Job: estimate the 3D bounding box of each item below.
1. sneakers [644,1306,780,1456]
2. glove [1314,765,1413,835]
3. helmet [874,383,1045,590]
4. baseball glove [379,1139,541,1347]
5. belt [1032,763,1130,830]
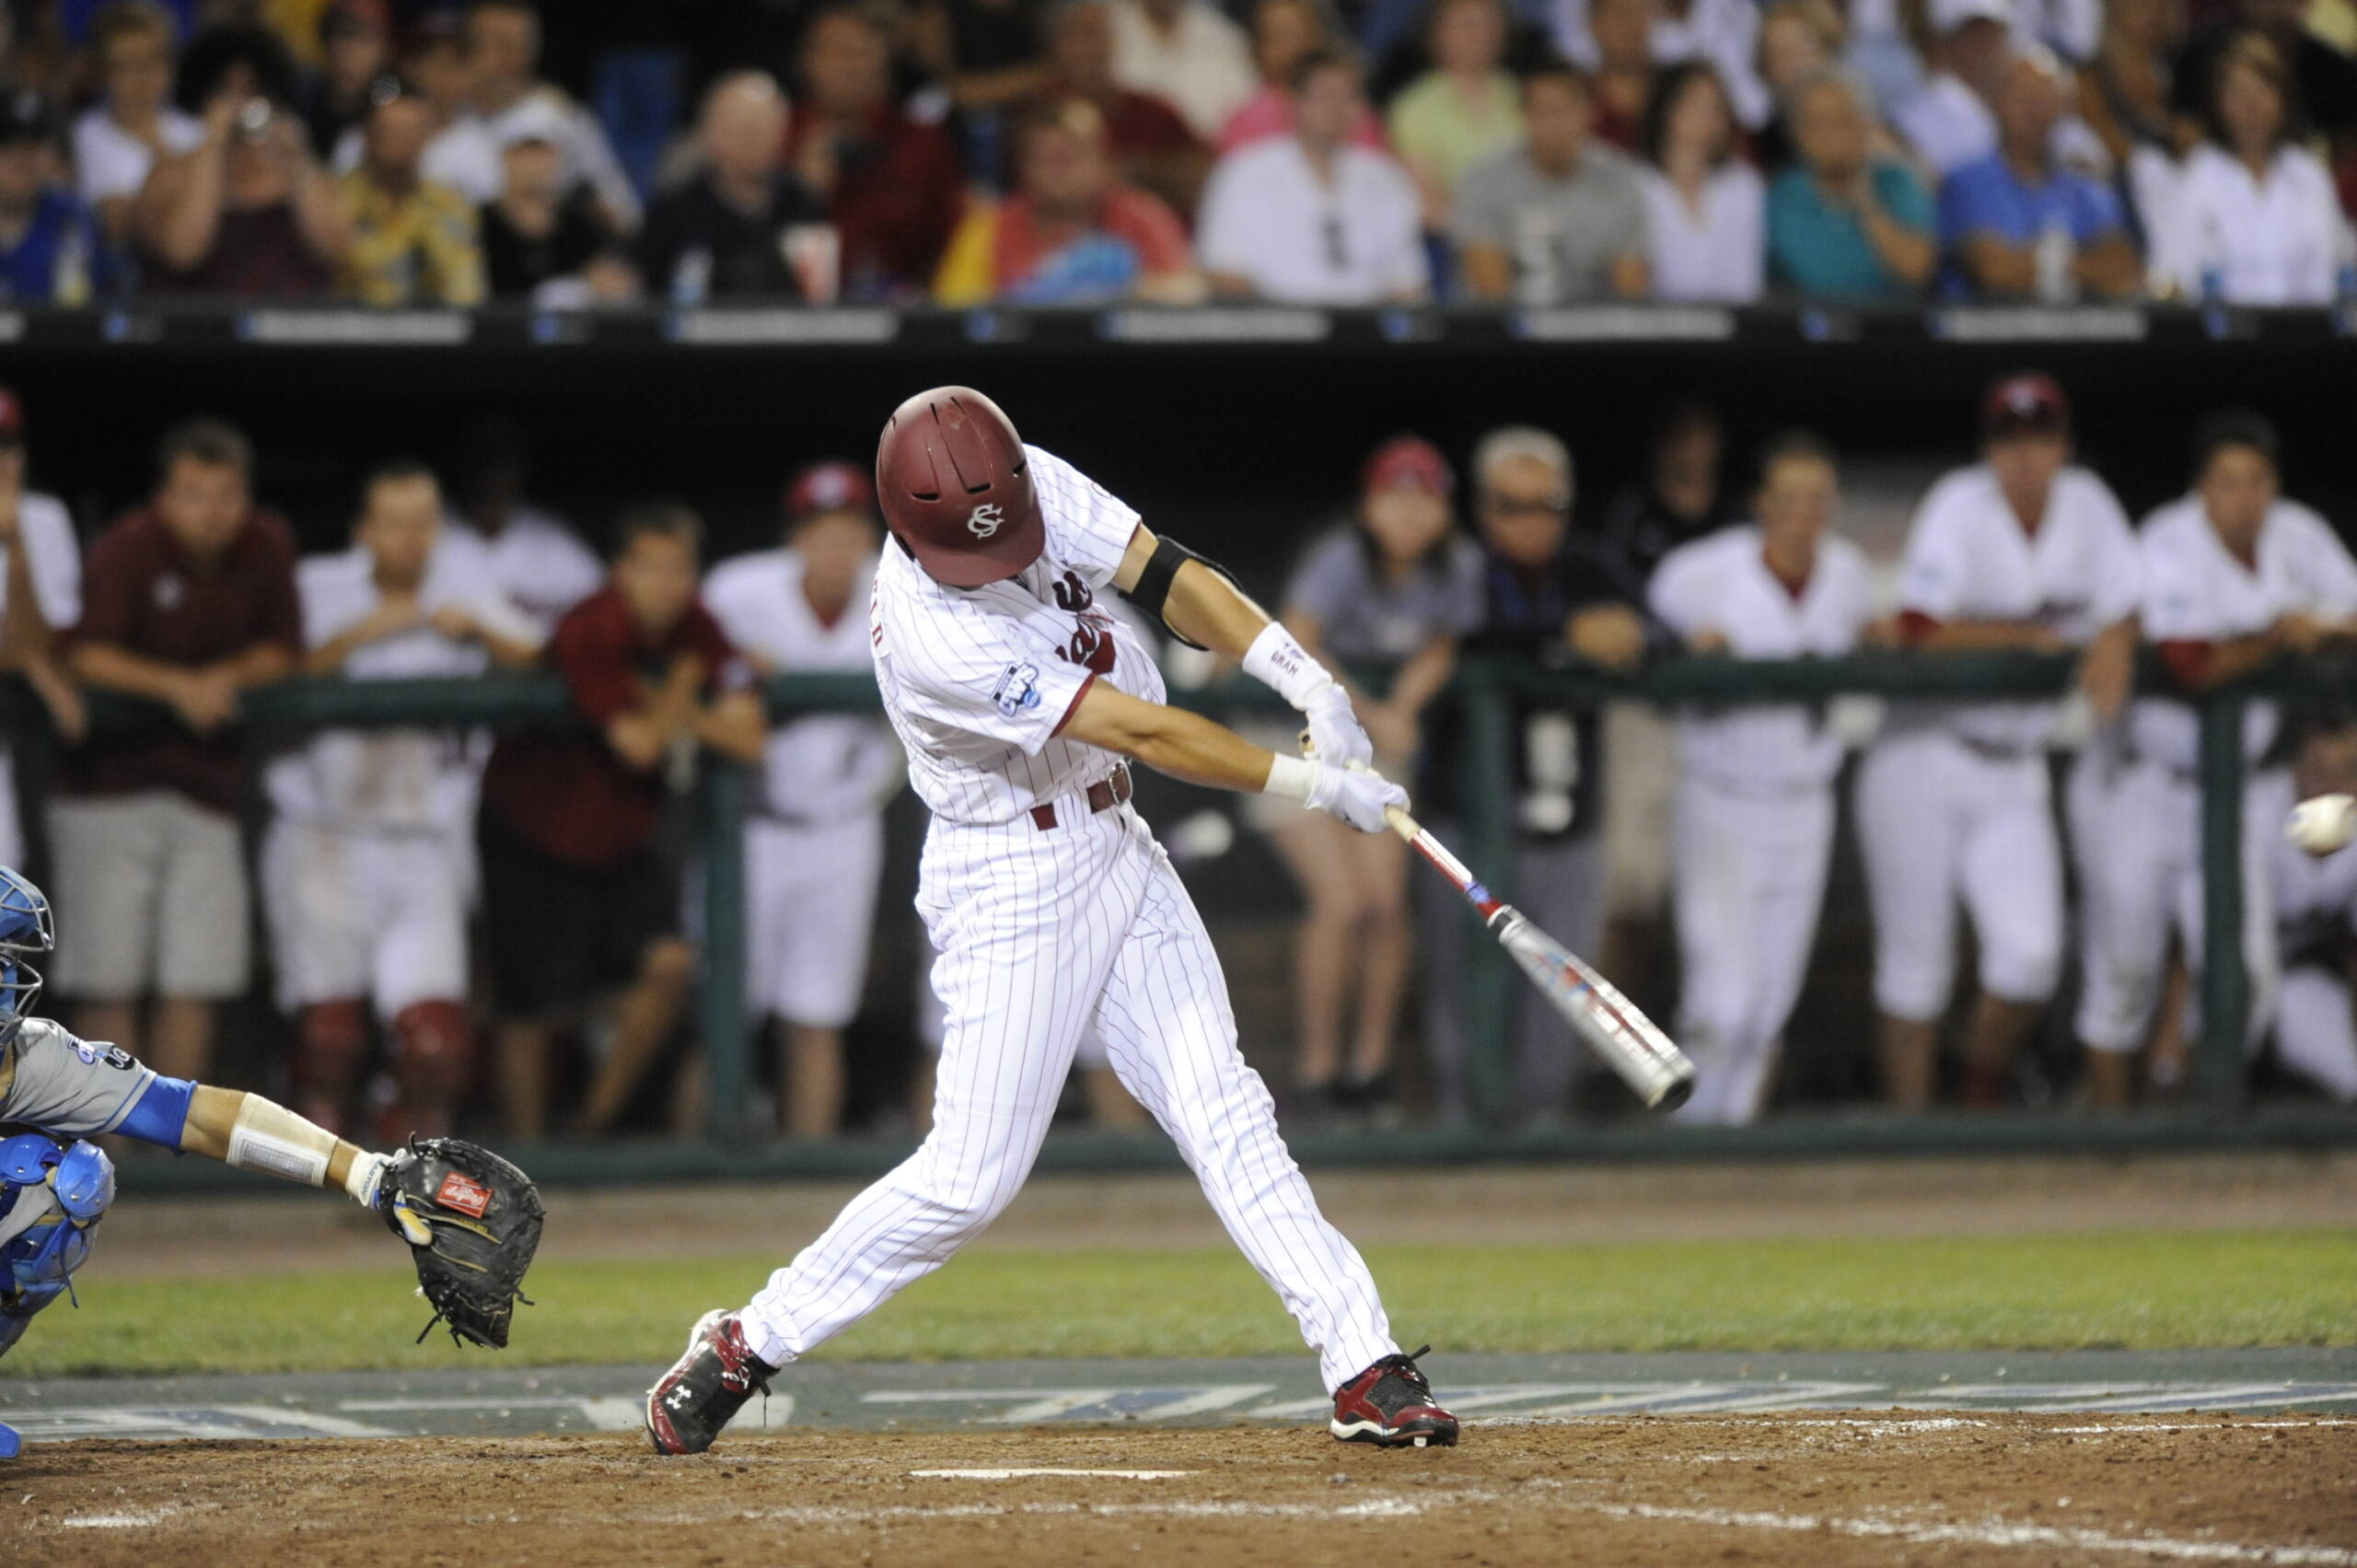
[{"bbox_3d":[-1.231,1.592,11.679,0.246,0.184,0.546,-6,35,22],"label":"sneakers"},{"bbox_3d":[0.504,0.030,11.624,0.184,0.162,0.203,1,2,29],"label":"glove"},{"bbox_3d":[-0.552,-0.748,11.629,0.323,0.585,0.506,7,-9,-39],"label":"helmet"},{"bbox_3d":[-1.871,1.195,11.903,0.451,0.537,0.163,-40,16,-2],"label":"baseball glove"},{"bbox_3d":[-0.252,0.040,11.652,0.182,0.054,0.174,-20,3,17],"label":"belt"}]
